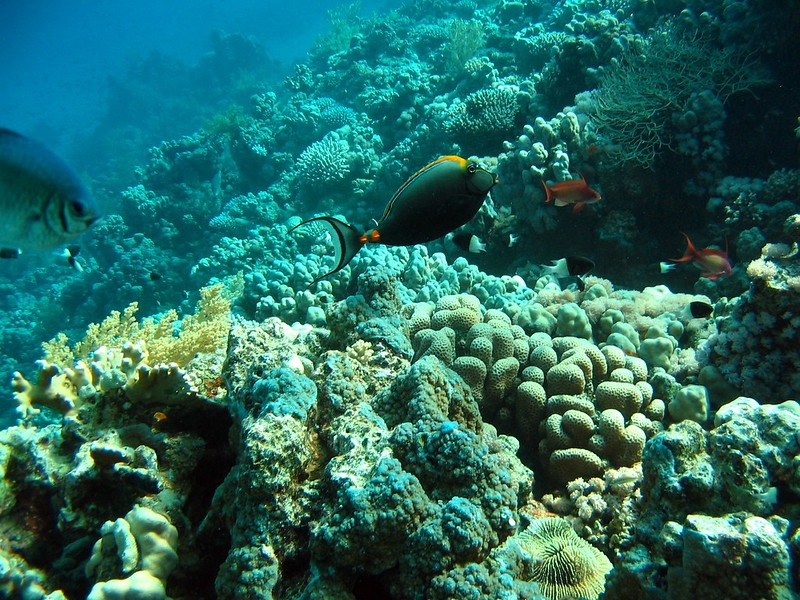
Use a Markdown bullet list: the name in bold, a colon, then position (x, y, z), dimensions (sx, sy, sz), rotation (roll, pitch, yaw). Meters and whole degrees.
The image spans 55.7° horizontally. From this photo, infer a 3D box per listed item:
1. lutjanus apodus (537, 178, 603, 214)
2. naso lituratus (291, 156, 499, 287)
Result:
- **lutjanus apodus**: position (3.323, -2.024, 14.560), dimensions (1.242, 0.766, 0.966), rotation (8, 20, 8)
- **naso lituratus**: position (0.286, -1.362, 11.224), dimensions (2.454, 1.103, 0.298), rotation (-21, 19, -1)
